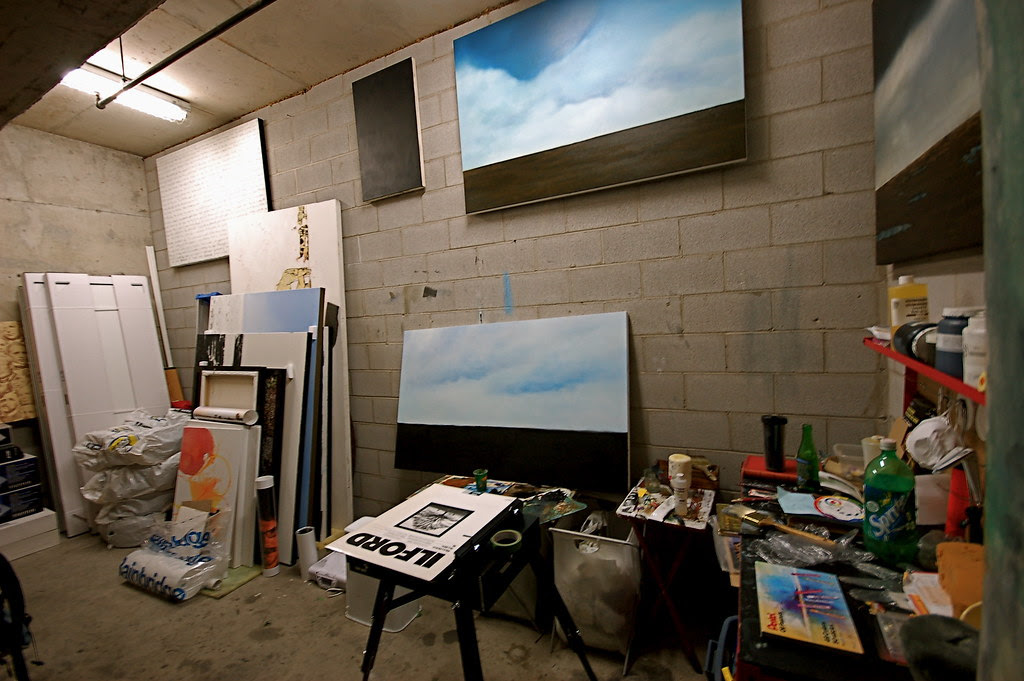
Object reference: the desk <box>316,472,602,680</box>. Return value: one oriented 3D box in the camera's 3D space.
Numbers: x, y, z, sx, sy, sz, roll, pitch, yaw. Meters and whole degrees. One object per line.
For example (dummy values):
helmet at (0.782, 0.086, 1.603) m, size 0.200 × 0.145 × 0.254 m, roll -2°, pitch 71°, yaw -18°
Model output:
desk at (-0.187, 1.105, 3.827) m, size 1.356 × 1.197 × 1.446 m, roll 2°, pitch 6°, yaw 31°

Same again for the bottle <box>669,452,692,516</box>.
bottle at (1.010, 0.867, 3.911) m, size 0.111 × 0.338 × 0.116 m, roll -2°, pitch -1°, yaw 0°

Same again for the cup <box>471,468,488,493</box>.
cup at (-0.224, 0.949, 4.447) m, size 0.137 × 0.146 × 0.117 m, roll -1°, pitch 7°, yaw -8°

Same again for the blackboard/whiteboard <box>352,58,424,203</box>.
blackboard/whiteboard at (-0.970, -1.624, 5.074) m, size 0.551 × 0.759 × 0.109 m, roll -2°, pitch -1°, yaw 24°

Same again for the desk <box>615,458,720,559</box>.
desk at (0.981, 1.001, 4.027) m, size 0.489 × 0.311 × 0.651 m, roll -1°, pitch 1°, yaw 32°

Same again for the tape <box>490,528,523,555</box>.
tape at (-0.038, 1.093, 3.560) m, size 0.159 × 0.100 × 0.099 m, roll -2°, pitch 13°, yaw 2°

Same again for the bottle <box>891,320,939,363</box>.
bottle at (1.986, 0.005, 3.184) m, size 0.136 × 0.215 × 0.259 m, roll -2°, pitch -1°, yaw 6°

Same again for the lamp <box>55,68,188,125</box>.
lamp at (-3.127, -1.923, 5.295) m, size 0.836 × 0.183 × 0.574 m, roll 0°, pitch -2°, yaw -40°
